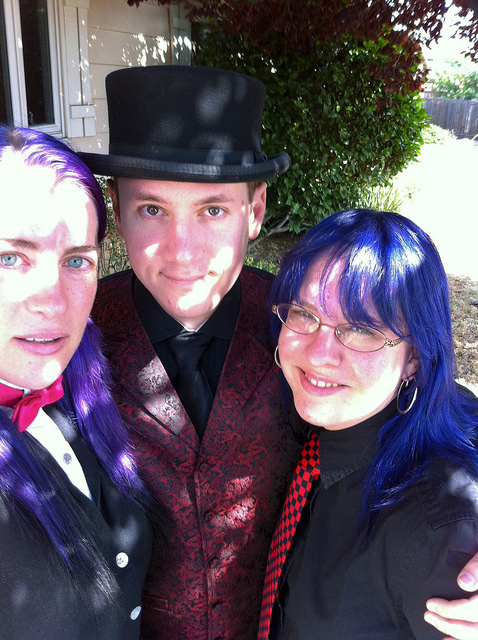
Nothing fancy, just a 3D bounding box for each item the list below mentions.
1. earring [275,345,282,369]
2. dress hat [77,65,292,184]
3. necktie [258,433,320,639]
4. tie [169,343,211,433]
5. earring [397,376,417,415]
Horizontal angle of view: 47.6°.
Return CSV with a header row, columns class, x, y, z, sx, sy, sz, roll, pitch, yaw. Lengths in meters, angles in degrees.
class,x,y,z,sx,sy,sz,roll,pitch,yaw
earring,0.125,0.128,1.701,0.009,0.047,0.049,-10,30,25
dress hat,-0.153,-0.618,1.753,0.727,0.289,0.697,3,15,-7
necktie,0.151,0.644,1.671,0.028,0.827,0.123,7,3,-12
tie,-0.126,0.249,1.776,0.127,0.400,0.061,-3,32,15
earring,0.444,0.217,1.474,0.047,0.085,0.052,-11,26,-28
